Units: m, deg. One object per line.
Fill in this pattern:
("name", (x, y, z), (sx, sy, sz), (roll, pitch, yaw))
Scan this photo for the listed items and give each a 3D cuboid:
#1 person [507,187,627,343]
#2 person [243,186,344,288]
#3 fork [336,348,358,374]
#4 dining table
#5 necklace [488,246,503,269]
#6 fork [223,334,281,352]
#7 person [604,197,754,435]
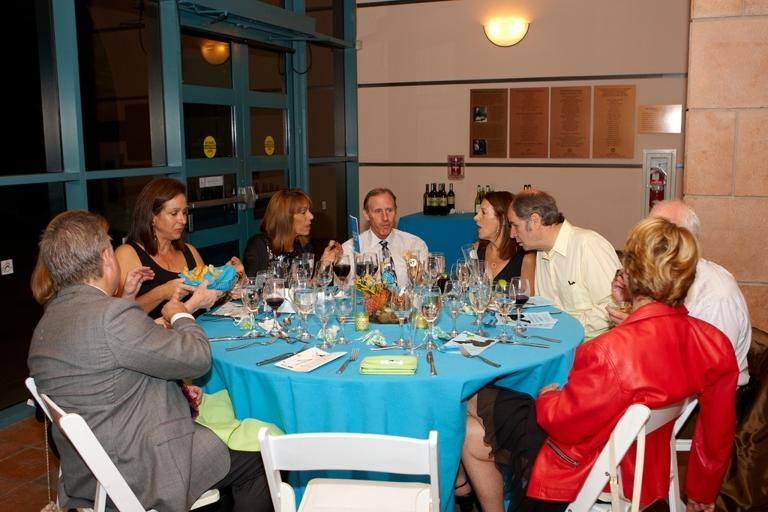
("person", (1.255, 0.099, 3.646), (0.663, 1.170, 0.814), (-16, 16, -35))
("person", (-0.660, -0.156, 4.164), (0.741, 1.081, 0.646), (-1, 4, 23))
("fork", (-0.172, 0.507, 2.548), (0.034, 0.031, 0.213), (-5, 23, 18))
("dining table", (-0.056, 0.679, 2.467), (1.206, 0.799, 1.226), (-1, 1, 0))
("necklace", (0.854, 0.013, 3.979), (0.139, 0.207, 0.057), (-1, 4, 36))
("fork", (-0.694, 0.461, 2.779), (0.202, 0.030, 0.027), (-10, 17, -23))
("person", (1.716, 0.247, 3.447), (1.029, 1.617, 0.970), (3, 3, 27))
